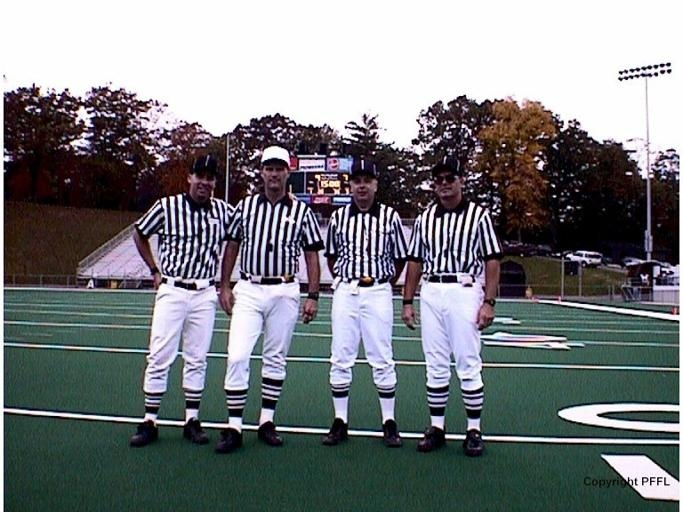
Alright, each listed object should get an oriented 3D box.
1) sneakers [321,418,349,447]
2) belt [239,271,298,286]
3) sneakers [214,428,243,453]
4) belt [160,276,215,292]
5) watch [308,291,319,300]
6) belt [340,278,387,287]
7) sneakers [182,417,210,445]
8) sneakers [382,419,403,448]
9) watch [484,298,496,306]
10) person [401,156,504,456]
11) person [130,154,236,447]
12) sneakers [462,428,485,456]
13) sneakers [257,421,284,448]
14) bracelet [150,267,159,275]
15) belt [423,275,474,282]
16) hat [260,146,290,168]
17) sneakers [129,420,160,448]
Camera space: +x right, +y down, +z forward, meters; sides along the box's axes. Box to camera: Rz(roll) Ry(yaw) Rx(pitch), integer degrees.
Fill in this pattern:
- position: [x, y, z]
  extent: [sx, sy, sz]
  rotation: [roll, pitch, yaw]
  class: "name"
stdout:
- position: [-0.043, 1.102, 3.716]
  extent: [0.180, 0.130, 0.183]
  rotation: [-1, 7, -9]
  class: "sneakers"
- position: [-0.488, 0.142, 3.882]
  extent: [0.363, 0.069, 0.108]
  rotation: [-1, 7, -9]
  class: "belt"
- position: [-0.683, 1.108, 3.592]
  extent: [0.204, 0.117, 0.144]
  rotation: [-4, 8, -30]
  class: "sneakers"
- position: [-1.018, 0.174, 3.857]
  extent: [0.339, 0.090, 0.117]
  rotation: [-2, 7, -16]
  class: "belt"
- position: [-0.192, 0.266, 3.980]
  extent: [0.054, 0.049, 0.047]
  rotation: [0, 3, 8]
  class: "watch"
- position: [0.140, 0.171, 3.871]
  extent: [0.288, 0.060, 0.071]
  rotation: [0, 7, -1]
  class: "belt"
- position: [-0.922, 1.101, 3.678]
  extent: [0.081, 0.110, 0.230]
  rotation: [2, -9, -27]
  class: "sneakers"
- position: [0.316, 1.107, 3.684]
  extent: [0.115, 0.127, 0.143]
  rotation: [1, 7, 5]
  class: "sneakers"
- position: [0.935, 0.304, 3.710]
  extent: [0.057, 0.045, 0.059]
  rotation: [-7, -19, 44]
  class: "watch"
- position: [0.685, 0.266, 3.765]
  extent: [0.637, 1.784, 0.616]
  rotation: [2, 7, 16]
  class: "person"
- position: [-1.039, 0.235, 3.832]
  extent: [0.654, 1.778, 0.668]
  rotation: [-1, 7, -14]
  class: "person"
- position: [0.802, 1.133, 3.572]
  extent: [0.120, 0.114, 0.137]
  rotation: [2, 7, 12]
  class: "sneakers"
- position: [-0.452, 1.113, 3.670]
  extent: [0.069, 0.114, 0.237]
  rotation: [1, -9, -25]
  class: "sneakers"
- position: [-1.276, 0.098, 3.986]
  extent: [0.044, 0.039, 0.046]
  rotation: [-3, -1, 35]
  class: "bracelet"
- position: [0.699, 0.143, 3.769]
  extent: [0.302, 0.057, 0.085]
  rotation: [2, 7, 13]
  class: "belt"
- position: [-0.444, -0.663, 3.906]
  extent: [0.175, 0.144, 0.158]
  rotation: [1, 7, 9]
  class: "hat"
- position: [-1.223, 1.097, 3.629]
  extent: [0.073, 0.104, 0.222]
  rotation: [6, -17, 4]
  class: "sneakers"
